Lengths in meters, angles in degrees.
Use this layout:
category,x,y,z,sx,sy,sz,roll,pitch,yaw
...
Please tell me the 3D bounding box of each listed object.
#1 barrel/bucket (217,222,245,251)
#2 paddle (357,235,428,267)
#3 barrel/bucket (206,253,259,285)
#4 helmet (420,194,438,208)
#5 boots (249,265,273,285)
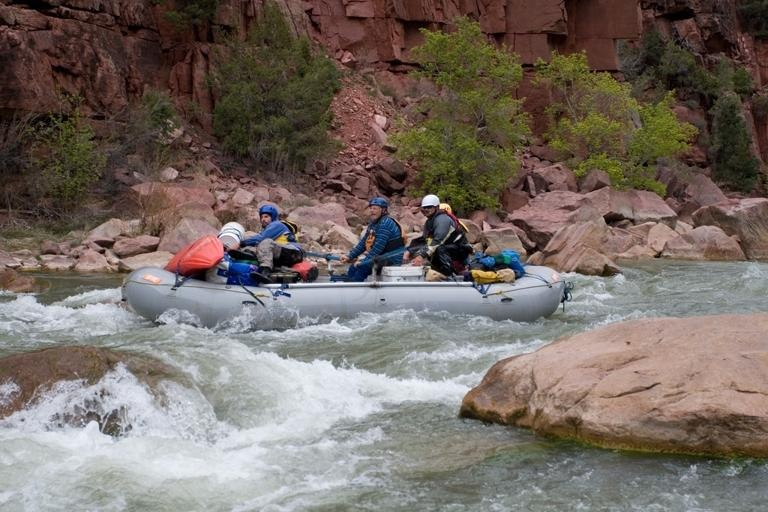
category,x,y,z,sx,sy,sz,roll,pitch,yaw
barrel/bucket,-3.209,-0.455,17.323,0.471,0.610,0.592,7,31,3
paddle,0.304,-0.163,17.876,1.129,0.400,0.874,-10,-12,3
barrel/bucket,-3.110,0.355,16.783,0.737,0.301,0.750,2,8,0
helmet,1.051,-1.195,17.966,0.423,0.223,0.309,3,-2,-29
boots,-2.492,0.399,16.887,0.518,0.226,0.352,16,36,3
